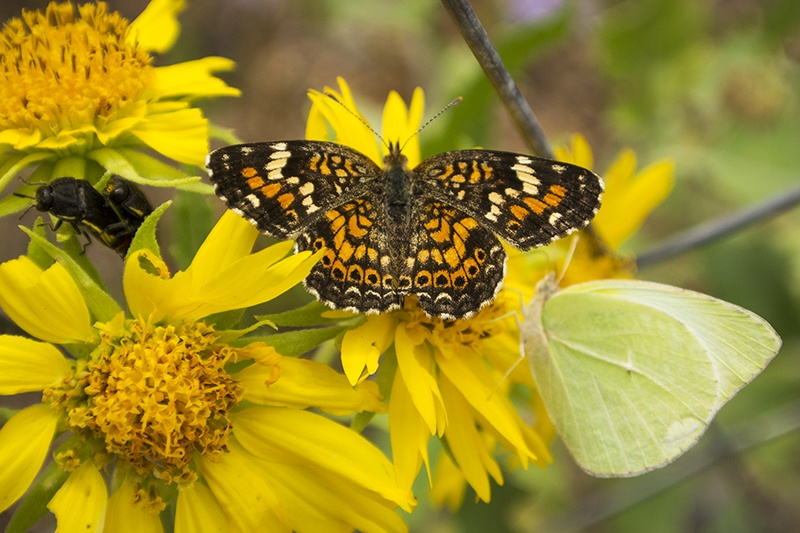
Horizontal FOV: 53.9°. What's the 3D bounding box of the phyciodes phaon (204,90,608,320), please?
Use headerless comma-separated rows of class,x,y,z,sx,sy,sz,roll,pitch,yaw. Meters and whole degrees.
phyciodes phaon,-0.113,-0.146,2.531,0.830,0.882,0.825,3,87,-27

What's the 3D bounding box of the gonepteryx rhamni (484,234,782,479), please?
gonepteryx rhamni,0.683,0.389,2.867,0.881,0.606,0.827,-3,35,-45

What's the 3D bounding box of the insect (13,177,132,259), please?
insect,-0.890,-0.155,2.168,0.200,0.251,0.225,10,19,29
